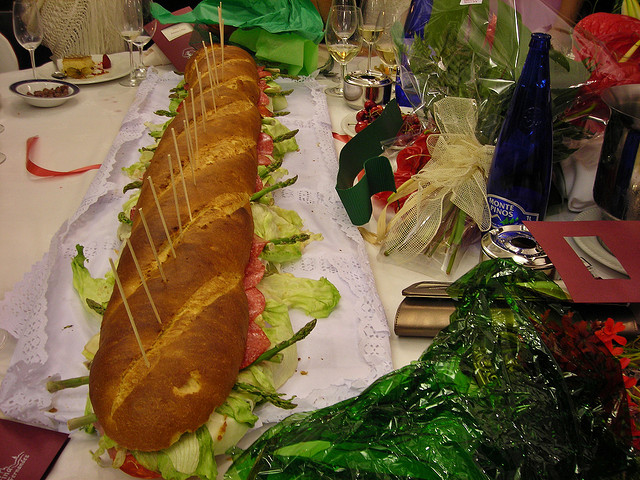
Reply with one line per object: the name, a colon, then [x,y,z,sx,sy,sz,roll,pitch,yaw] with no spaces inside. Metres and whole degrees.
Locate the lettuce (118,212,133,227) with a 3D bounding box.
lettuce: [-0.505,-0.047,1.237,0.042,0.015,0.029,50,33,3]

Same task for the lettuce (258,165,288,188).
lettuce: [-0.153,-0.196,1.487,0.068,0.030,0.070,-1,34,10]

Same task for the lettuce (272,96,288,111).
lettuce: [-0.170,-0.586,2.030,0.059,0.064,0.059,-32,31,-24]

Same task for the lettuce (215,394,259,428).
lettuce: [-0.139,0.293,0.814,0.066,0.025,0.045,25,30,22]

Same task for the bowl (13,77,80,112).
bowl: [-1.146,-0.625,1.989,0.176,0.050,0.182,8,41,-7]

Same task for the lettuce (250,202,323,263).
lettuce: [-0.084,-0.032,1.263,0.175,0.092,0.257,-8,32,-9]

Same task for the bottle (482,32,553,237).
bottle: [0.448,-0.226,1.030,0.139,0.397,0.262,13,34,25]

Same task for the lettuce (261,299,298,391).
lettuce: [-0.082,0.208,0.984,0.090,0.032,0.138,-3,53,-10]

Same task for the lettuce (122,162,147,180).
lettuce: [-0.582,-0.219,1.492,0.075,0.029,0.077,-22,36,-2]

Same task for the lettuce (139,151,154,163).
lettuce: [-0.563,-0.269,1.538,0.045,0.026,0.063,-14,34,-17]

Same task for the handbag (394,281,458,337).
handbag: [0.236,0.139,1.019,0.113,0.094,0.165,12,35,22]

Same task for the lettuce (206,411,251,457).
lettuce: [-0.159,0.322,0.849,0.081,0.065,0.084,-4,20,-19]

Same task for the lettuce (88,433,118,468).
lettuce: [-0.357,0.338,0.774,0.051,0.017,0.068,-31,17,-29]

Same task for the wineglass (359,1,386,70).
wineglass: [0.220,-0.840,1.970,0.102,0.270,0.119,11,34,22]

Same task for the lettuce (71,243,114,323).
lettuce: [-0.506,0.081,1.045,0.070,0.119,0.197,-24,37,-31]

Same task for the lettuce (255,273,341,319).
lettuce: [-0.021,0.092,1.157,0.218,0.076,0.245,5,20,4]
